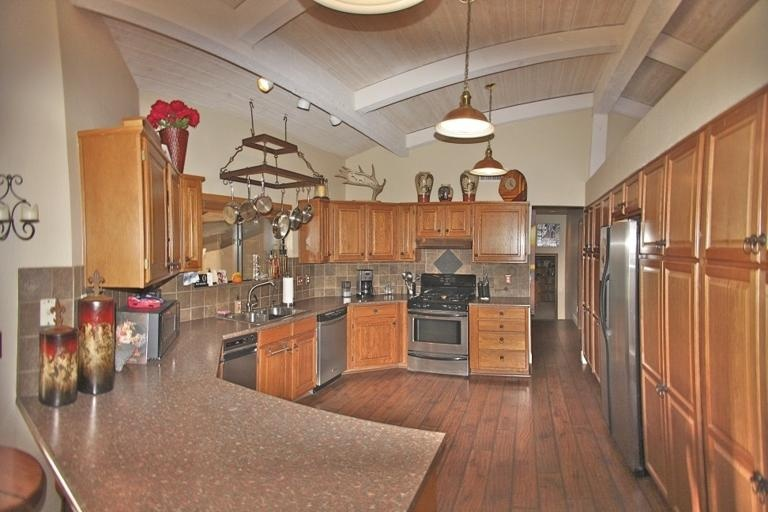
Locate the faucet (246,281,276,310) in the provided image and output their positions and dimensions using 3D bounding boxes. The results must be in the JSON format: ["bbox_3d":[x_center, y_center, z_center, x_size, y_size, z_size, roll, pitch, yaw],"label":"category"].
[{"bbox_3d":[-1.329,0.403,5.507,0.279,0.300,0.446,-3,9,-14],"label":"faucet"}]

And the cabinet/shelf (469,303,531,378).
[{"bbox_3d":[1.397,0.991,6.469,0.996,1.231,0.779,-1,-5,16],"label":"cabinet/shelf"}]

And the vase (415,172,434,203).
[{"bbox_3d":[0.539,-0.932,6.848,0.218,0.395,0.415,-1,9,0],"label":"vase"}]

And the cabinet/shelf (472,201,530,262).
[{"bbox_3d":[1.457,-0.185,6.759,0.925,0.954,0.674,-1,-4,15],"label":"cabinet/shelf"}]

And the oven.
[{"bbox_3d":[0.730,1.011,6.518,0.780,0.914,0.635,2,7,20],"label":"oven"}]

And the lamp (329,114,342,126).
[{"bbox_3d":[-0.571,-1.609,6.008,0.130,0.038,0.132,-3,-19,19],"label":"lamp"}]

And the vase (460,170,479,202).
[{"bbox_3d":[1.121,-0.923,6.690,0.215,0.397,0.286,1,9,9],"label":"vase"}]

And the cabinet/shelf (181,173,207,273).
[{"bbox_3d":[-1.670,-0.287,4.431,0.086,0.838,0.303,2,9,16],"label":"cabinet/shelf"}]

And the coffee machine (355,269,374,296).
[{"bbox_3d":[-0.249,0.337,6.830,0.222,0.328,0.330,-1,9,-3],"label":"coffee machine"}]

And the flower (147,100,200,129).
[{"bbox_3d":[-1.658,-1.108,3.984,0.313,0.194,0.319,11,17,37],"label":"flower"}]

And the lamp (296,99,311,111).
[{"bbox_3d":[-0.858,-1.608,5.447,0.126,0.124,0.102,0,0,-4],"label":"lamp"}]

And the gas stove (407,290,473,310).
[{"bbox_3d":[0.760,0.560,6.535,0.754,0.114,0.704,3,9,20],"label":"gas stove"}]

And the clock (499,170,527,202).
[{"bbox_3d":[1.673,-0.926,6.628,0.330,0.388,0.155,1,9,8],"label":"clock"}]

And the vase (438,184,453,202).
[{"bbox_3d":[0.829,-0.818,6.826,0.213,0.262,0.218,-4,-12,29],"label":"vase"}]

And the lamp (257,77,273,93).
[{"bbox_3d":[-1.159,-1.677,4.996,0.163,0.102,0.226,-2,9,-12],"label":"lamp"}]
